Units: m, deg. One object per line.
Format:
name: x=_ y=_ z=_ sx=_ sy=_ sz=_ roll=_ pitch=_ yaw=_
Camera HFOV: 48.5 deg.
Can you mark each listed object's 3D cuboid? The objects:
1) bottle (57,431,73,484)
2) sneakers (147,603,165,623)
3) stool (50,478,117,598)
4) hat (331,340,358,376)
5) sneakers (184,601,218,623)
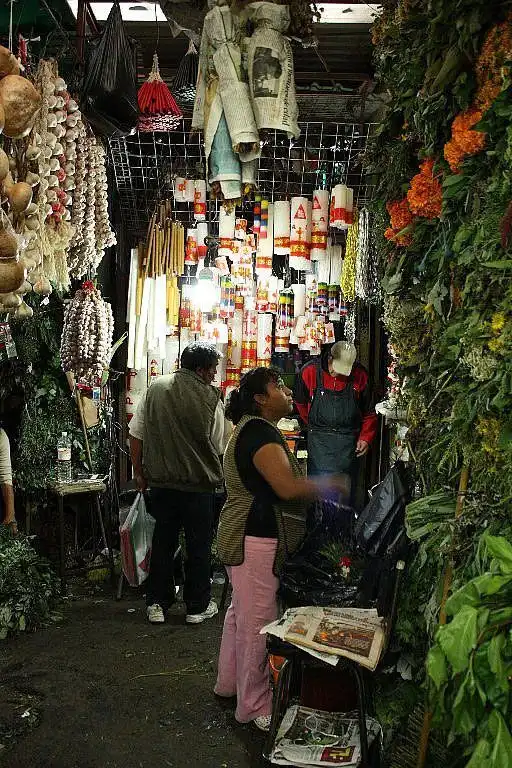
bottle: x=-1.474 y=0.552 z=4.361 sx=0.106 sy=0.372 sz=0.209 roll=1 pitch=-2 yaw=-19
sneakers: x=-0.643 y=1.483 z=3.660 sx=0.071 sy=0.061 sz=0.139 roll=2 pitch=17 yaw=-16
stool: x=-1.366 y=1.189 z=4.426 sx=0.570 sy=0.818 sz=0.573 roll=-4 pitch=0 yaw=6
hat: x=0.714 y=-0.212 z=4.570 sx=0.174 sy=0.146 sz=0.282 roll=10 pitch=44 yaw=-5
sneakers: x=-0.368 y=1.501 z=3.757 sx=0.085 sy=0.107 sz=0.225 roll=7 pitch=16 yaw=28
